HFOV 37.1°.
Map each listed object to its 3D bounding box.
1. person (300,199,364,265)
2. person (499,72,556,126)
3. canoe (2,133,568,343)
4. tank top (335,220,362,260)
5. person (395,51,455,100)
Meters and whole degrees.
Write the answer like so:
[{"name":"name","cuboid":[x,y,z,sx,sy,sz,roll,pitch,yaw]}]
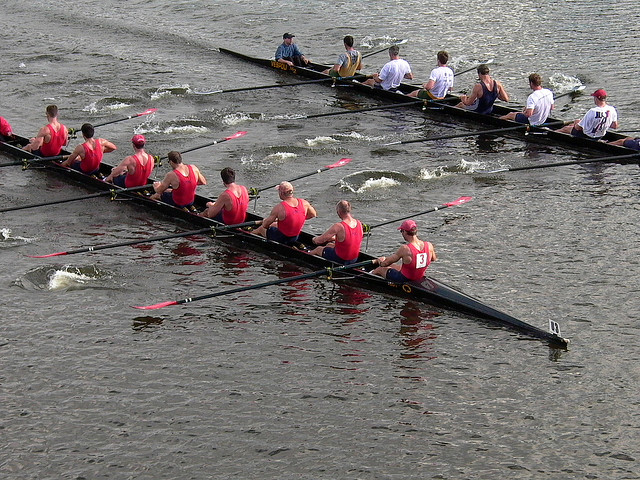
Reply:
[{"name":"person","cuboid":[0.480,-0.267,25.827,0.848,1.898,1.344,-21,36,-40]},{"name":"person","cuboid":[7.746,-5.035,33.890,1.087,1.919,1.084,3,27,-5]},{"name":"canoe","cuboid":[-1.136,0.106,27.393,23.328,1.143,1.379,14,2,16]},{"name":"tank top","cuboid":[0.796,0.006,25.716,0.731,1.157,0.333,2,29,-6]},{"name":"person","cuboid":[4.394,-6.349,36.534,1.492,1.970,1.143,6,27,1]}]
